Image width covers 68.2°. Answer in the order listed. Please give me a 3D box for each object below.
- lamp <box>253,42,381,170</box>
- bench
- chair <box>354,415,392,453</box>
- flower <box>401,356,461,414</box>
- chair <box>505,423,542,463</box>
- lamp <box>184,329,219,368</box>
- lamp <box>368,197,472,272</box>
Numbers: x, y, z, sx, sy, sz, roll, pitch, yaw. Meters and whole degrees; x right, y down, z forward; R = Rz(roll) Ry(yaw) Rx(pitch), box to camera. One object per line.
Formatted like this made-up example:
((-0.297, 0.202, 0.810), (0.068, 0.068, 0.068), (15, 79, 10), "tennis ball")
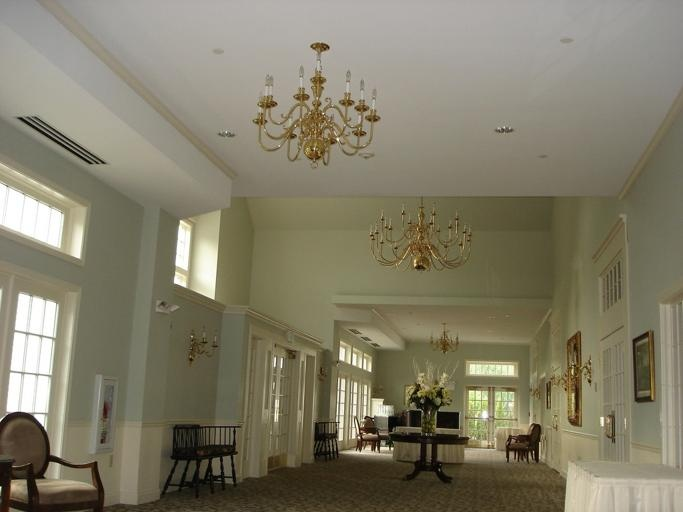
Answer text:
((-0.233, -1.371, 4.546), (1.078, 1.146, 1.032), (0, 0, -41), "lamp")
((-2.241, 3.296, 8.191), (0.569, 1.026, 1.631), (-4, -18, 10), "bench")
((0.955, 6.429, 18.302), (0.889, 1.235, 2.621), (0, -21, 1), "chair")
((2.007, 2.979, 11.138), (0.803, 1.055, 0.863), (-9, -25, 40), "flower")
((5.827, 5.948, 16.054), (0.937, 1.096, 2.575), (-7, -22, 21), "chair")
((-2.451, 1.604, 8.826), (0.390, 0.700, 0.608), (-6, -14, 12), "lamp")
((1.627, -0.379, 10.431), (1.783, 1.416, 1.957), (2, 16, 14), "lamp")
